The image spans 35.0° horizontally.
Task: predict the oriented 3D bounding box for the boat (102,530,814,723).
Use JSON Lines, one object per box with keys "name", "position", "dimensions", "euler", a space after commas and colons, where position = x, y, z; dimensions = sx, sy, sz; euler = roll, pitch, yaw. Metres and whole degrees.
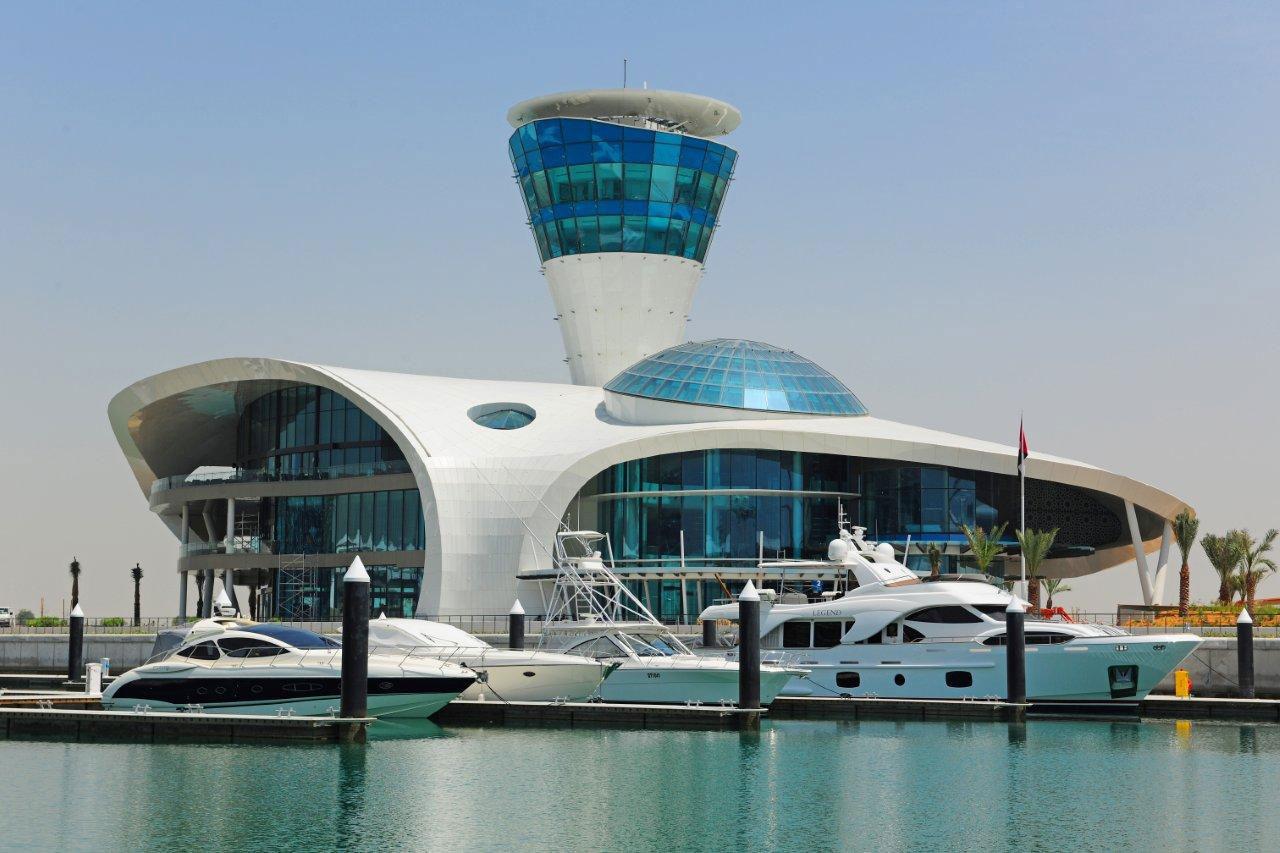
{"name": "boat", "position": [-7.086, 8.225, 69.885], "dimensions": [20.501, 3.439, 5.021], "euler": [0, -8, -4]}
